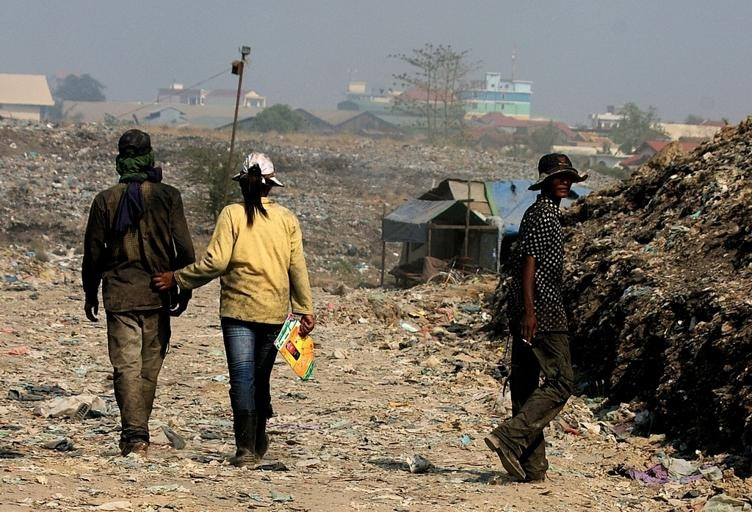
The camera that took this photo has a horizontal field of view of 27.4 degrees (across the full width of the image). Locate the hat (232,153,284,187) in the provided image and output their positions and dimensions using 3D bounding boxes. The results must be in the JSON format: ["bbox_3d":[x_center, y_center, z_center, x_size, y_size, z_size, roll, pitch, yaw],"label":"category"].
[{"bbox_3d":[-1.832,-1.369,23.479,0.656,0.304,0.615,13,13,18],"label":"hat"}]

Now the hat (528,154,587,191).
[{"bbox_3d":[2.694,-1.341,23.514,0.727,0.330,0.683,-5,-4,-2],"label":"hat"}]
